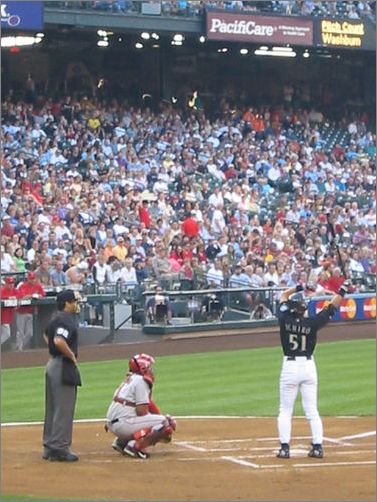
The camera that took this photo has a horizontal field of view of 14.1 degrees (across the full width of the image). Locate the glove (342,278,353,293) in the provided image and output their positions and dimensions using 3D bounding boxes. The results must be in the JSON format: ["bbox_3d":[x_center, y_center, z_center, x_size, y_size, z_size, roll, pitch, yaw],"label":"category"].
[{"bbox_3d":[2.803,0.614,27.044,0.093,0.132,0.356,-32,11,18],"label":"glove"}]

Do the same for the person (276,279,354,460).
[{"bbox_3d":[1.731,1.893,22.912,0.777,2.450,0.550,0,1,4],"label":"person"}]

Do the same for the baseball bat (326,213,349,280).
[{"bbox_3d":[3.426,-0.030,35.307,0.156,1.740,0.135,1,32,22],"label":"baseball bat"}]

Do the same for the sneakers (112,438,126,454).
[{"bbox_3d":[-1.052,2.944,22.945,0.103,0.181,0.327,9,-9,12],"label":"sneakers"}]

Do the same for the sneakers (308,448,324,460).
[{"bbox_3d":[1.911,3.016,22.790,0.240,0.194,0.265,1,1,2],"label":"sneakers"}]

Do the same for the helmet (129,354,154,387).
[{"bbox_3d":[-0.720,1.809,23.049,0.359,0.498,0.357,3,-7,-4],"label":"helmet"}]

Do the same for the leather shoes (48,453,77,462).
[{"bbox_3d":[-1.859,3.034,22.388,0.378,0.216,0.163,0,2,-2],"label":"leather shoes"}]

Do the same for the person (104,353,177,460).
[{"bbox_3d":[-0.712,2.421,23.180,0.925,1.650,1.062,13,-18,-31],"label":"person"}]

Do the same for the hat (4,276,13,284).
[{"bbox_3d":[-3.544,0.589,30.007,0.166,0.142,0.267,0,1,-10],"label":"hat"}]

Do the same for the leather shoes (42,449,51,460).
[{"bbox_3d":[-2.124,3.020,22.493,0.062,0.177,0.192,-1,2,-37],"label":"leather shoes"}]

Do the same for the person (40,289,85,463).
[{"bbox_3d":[-1.891,1.863,22.570,0.532,2.512,0.515,0,1,-5],"label":"person"}]

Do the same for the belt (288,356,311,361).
[{"bbox_3d":[1.658,1.627,22.895,0.375,0.096,0.095,1,1,-3],"label":"belt"}]

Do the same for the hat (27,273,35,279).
[{"bbox_3d":[-3.117,0.517,30.306,0.109,0.147,0.244,1,2,34],"label":"hat"}]

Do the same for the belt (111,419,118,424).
[{"bbox_3d":[-1.117,2.564,22.797,0.098,0.070,0.022,1,1,4],"label":"belt"}]

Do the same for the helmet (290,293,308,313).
[{"bbox_3d":[1.655,0.771,23.013,0.188,0.308,0.295,5,32,10],"label":"helmet"}]
